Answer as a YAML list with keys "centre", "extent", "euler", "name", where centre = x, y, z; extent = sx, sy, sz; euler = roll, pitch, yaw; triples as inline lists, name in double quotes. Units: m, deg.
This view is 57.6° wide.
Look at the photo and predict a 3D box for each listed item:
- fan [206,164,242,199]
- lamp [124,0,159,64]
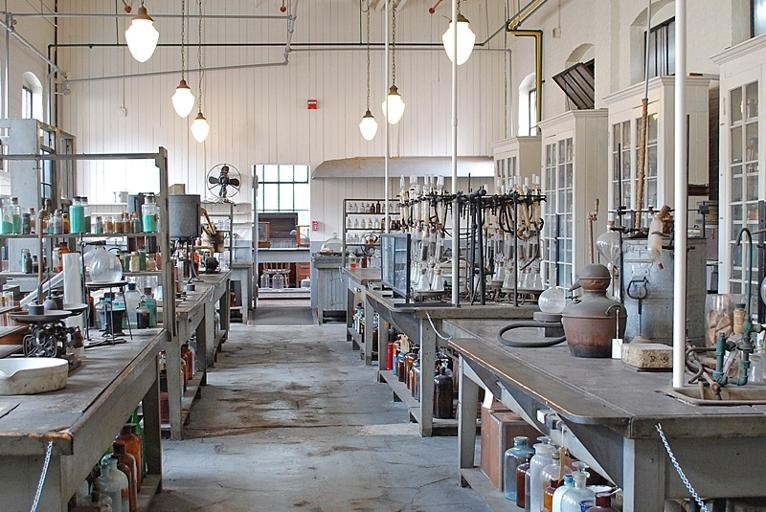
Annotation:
- centre: [-2.853, -1.419, 12.412]
  extent: [0.565, 0.627, 0.624]
  euler: [-4, -21, 1]
  name: "fan"
- centre: [-2.188, -2.081, 6.349]
  extent: [0.255, 0.592, 0.819]
  euler: [-2, 6, -19]
  name: "lamp"
